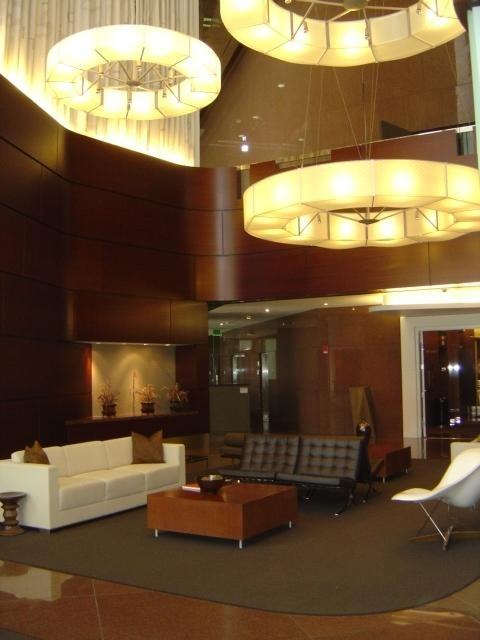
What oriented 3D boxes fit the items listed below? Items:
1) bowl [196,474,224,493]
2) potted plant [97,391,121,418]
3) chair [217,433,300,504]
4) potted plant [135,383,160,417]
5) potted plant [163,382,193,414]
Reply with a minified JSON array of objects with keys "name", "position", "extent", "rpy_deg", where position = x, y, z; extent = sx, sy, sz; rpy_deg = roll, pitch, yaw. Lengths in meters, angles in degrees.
[{"name":"bowl","position":[-0.285,1.589,5.242],"extent":[0.175,0.109,0.184],"rpy_deg":[3,-4,0]},{"name":"potted plant","position":[-2.328,1.454,9.316],"extent":[0.385,0.551,0.422],"rpy_deg":[0,-1,-21]},{"name":"chair","position":[0.340,1.784,6.847],"extent":[0.853,0.598,0.651],"rpy_deg":[-4,-9,27]},{"name":"potted plant","position":[-1.772,1.500,10.229],"extent":[0.505,0.794,0.585],"rpy_deg":[1,-4,3]},{"name":"potted plant","position":[-1.272,1.592,10.869],"extent":[0.500,0.597,0.490],"rpy_deg":[4,-6,-42]}]
